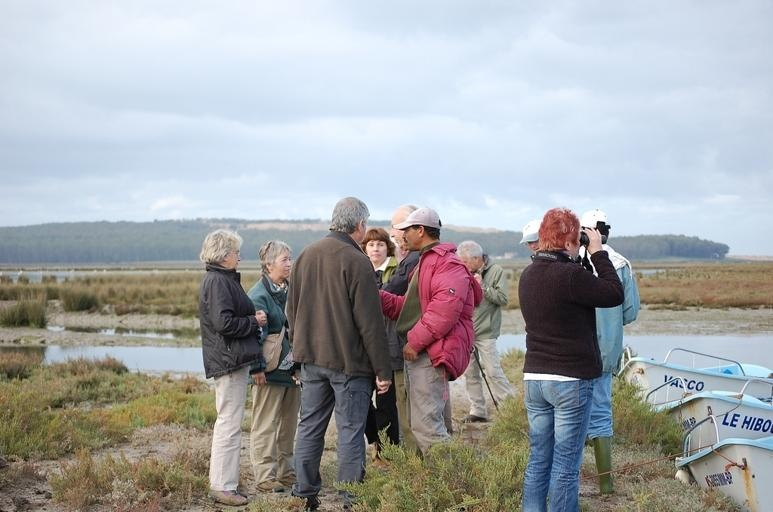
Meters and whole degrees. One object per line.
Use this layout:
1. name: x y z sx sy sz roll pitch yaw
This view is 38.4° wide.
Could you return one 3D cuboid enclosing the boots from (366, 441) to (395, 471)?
1. boots: -0.221 5.125 28.950 0.329 0.576 1.166 -34 -30 -20
